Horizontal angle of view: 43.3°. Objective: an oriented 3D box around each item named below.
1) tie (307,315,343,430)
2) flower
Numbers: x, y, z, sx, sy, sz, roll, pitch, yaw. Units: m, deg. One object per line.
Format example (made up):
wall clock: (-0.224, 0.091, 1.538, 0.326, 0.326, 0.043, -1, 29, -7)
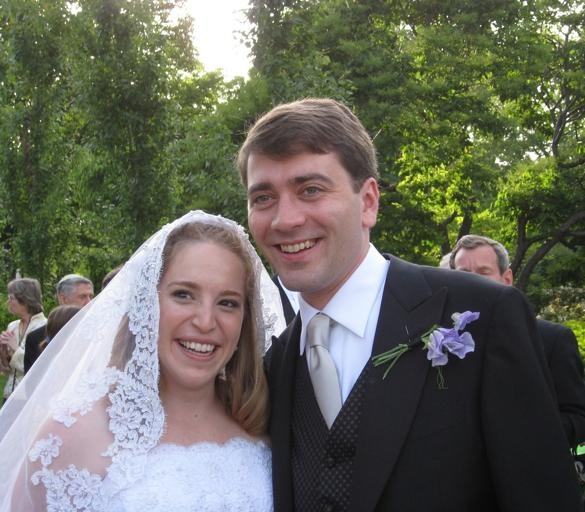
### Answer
tie: (0.154, 0.574, 3.865, 0.125, 0.643, 0.158, -25, -36, 23)
flower: (0.680, 0.497, 3.653, 0.424, 0.208, 0.298, -17, 25, 20)
